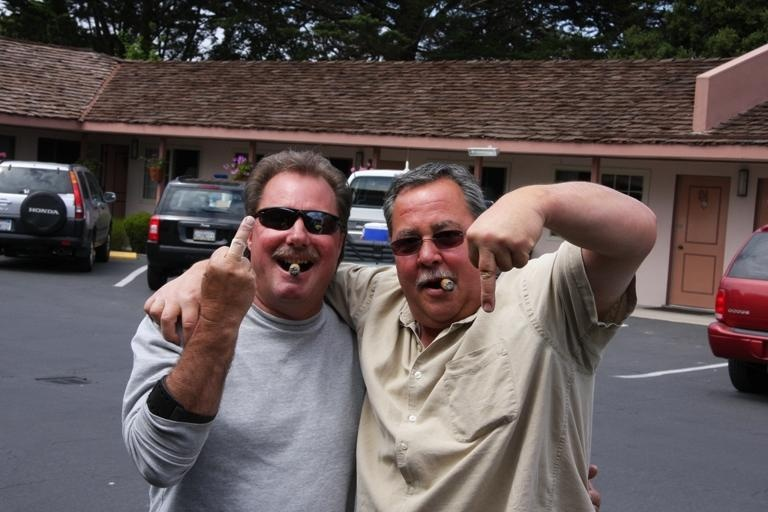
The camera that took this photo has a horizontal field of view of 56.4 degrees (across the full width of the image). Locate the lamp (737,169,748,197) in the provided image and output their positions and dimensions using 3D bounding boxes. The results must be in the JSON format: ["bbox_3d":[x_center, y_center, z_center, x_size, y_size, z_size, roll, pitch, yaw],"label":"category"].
[{"bbox_3d":[7.598,-1.569,15.168,0.224,0.610,0.137,6,6,25],"label":"lamp"}]

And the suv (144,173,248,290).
[{"bbox_3d":[-3.365,-0.598,13.838,1.808,1.648,3.245,0,11,-4],"label":"suv"}]
